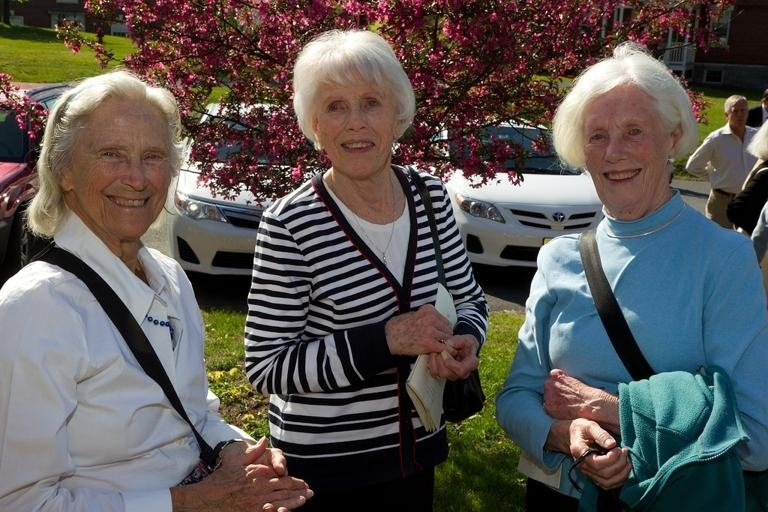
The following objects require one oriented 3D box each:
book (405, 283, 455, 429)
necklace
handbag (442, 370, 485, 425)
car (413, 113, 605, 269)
[{"bbox_3d":[0.198,0.513,3.004,0.148,0.539,0.524,5,24,12],"label":"book"},{"bbox_3d":[-0.071,-0.154,3.237,0.335,0.145,0.229,42,57,8],"label":"necklace"},{"bbox_3d":[0.381,0.663,3.235,0.137,0.264,0.191,25,33,36],"label":"handbag"},{"bbox_3d":[1.968,-0.311,9.939,2.323,2.179,4.539,5,-7,4],"label":"car"}]
